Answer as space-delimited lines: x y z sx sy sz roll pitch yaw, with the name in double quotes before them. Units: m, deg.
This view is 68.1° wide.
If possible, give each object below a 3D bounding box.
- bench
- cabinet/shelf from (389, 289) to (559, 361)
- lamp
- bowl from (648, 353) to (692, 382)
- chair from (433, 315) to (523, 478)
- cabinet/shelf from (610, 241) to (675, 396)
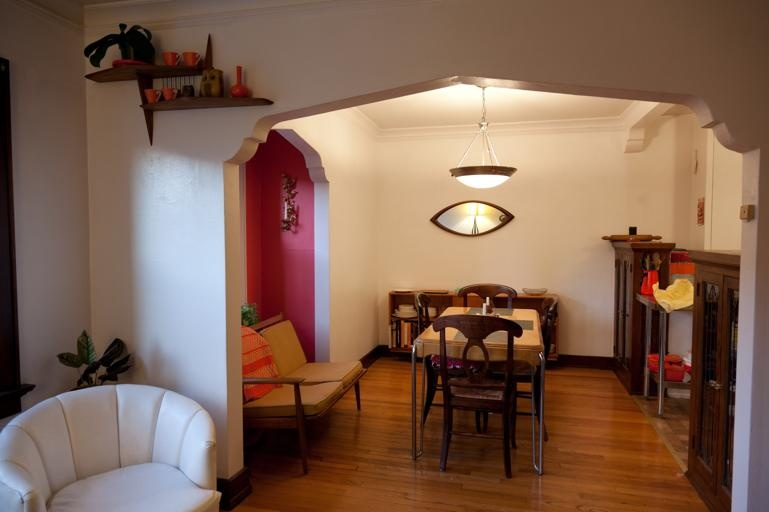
"bench" -0.852 1.158 5.229 1.010 0.955 1.703 2 3 8
"cabinet/shelf" 1.019 0.802 6.976 2.007 0.864 0.486 0 8 15
"lamp" 1.152 -1.382 6.450 0.909 1.471 0.938 0 -6 13
"bowl" 2.809 1.088 5.538 0.400 0.190 0.526 0 -5 15
"chair" 0.785 1.110 4.795 0.706 1.283 0.771 0 3 6
"cabinet/shelf" 2.747 0.662 5.971 0.417 1.634 1.628 1 0 16
